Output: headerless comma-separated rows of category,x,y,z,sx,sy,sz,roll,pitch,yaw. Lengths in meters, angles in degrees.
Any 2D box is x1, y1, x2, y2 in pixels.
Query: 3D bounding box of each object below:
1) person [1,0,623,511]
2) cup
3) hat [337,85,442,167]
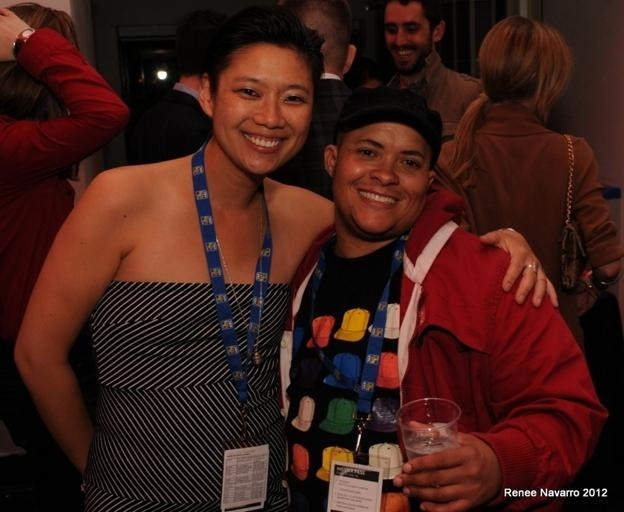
person,-0.163,-0.386,2.445,2.164,1.175,1.354,8,24,15
cup,0.311,0.447,1.519,0.152,0.138,0.165,-6,17,2
hat,0.253,-0.502,1.973,0.287,0.234,0.416,3,-3,-3
